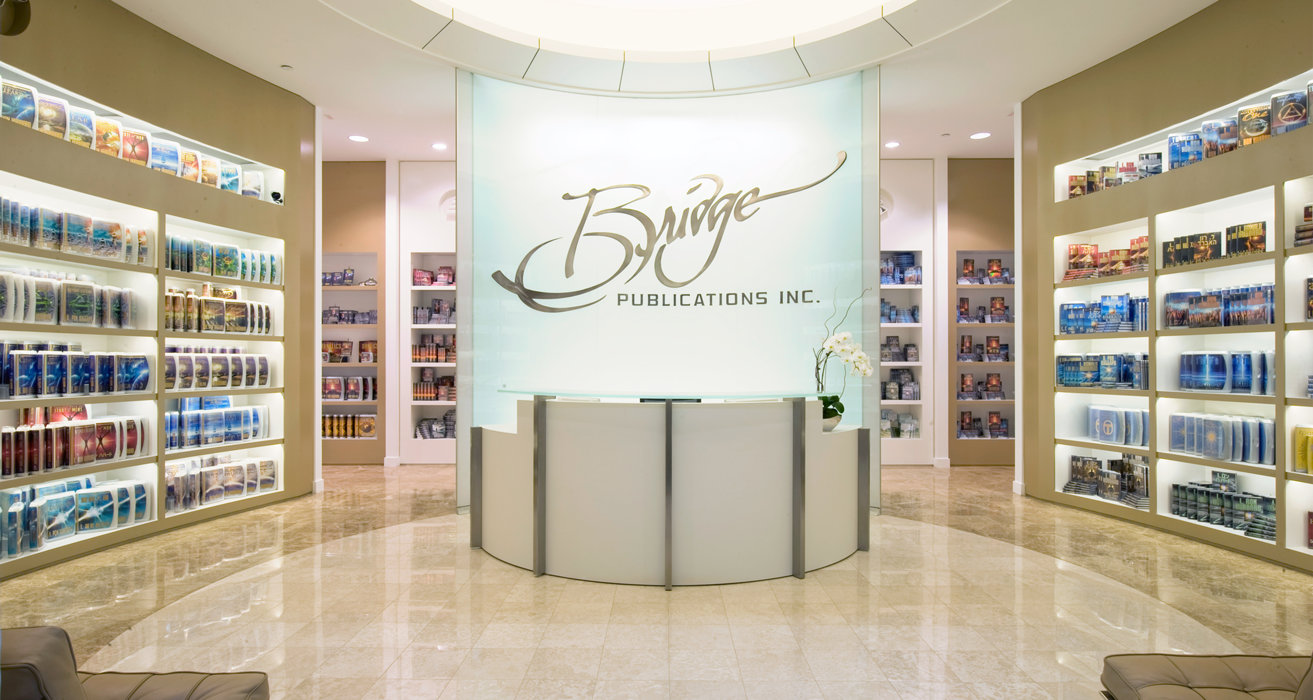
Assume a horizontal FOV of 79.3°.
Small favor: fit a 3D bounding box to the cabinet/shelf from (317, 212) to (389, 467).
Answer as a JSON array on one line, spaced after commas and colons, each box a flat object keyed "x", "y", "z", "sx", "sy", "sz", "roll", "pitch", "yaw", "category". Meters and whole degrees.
[{"x": -4.786, "y": -0.133, "z": 12.462, "sx": 1.003, "sy": 4.027, "sz": 0.471, "roll": 0, "pitch": 0, "yaw": -8, "category": "cabinet/shelf"}]

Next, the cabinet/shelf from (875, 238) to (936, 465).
[{"x": 3.875, "y": 0.112, "z": 12.265, "sx": 0.766, "sy": 3.049, "sz": 0.375, "roll": 0, "pitch": 0, "yaw": 3, "category": "cabinet/shelf"}]

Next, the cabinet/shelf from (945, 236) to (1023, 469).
[{"x": 5.049, "y": 0.127, "z": 12.289, "sx": 0.972, "sy": 3.014, "sz": 0.432, "roll": 0, "pitch": 0, "yaw": 11, "category": "cabinet/shelf"}]

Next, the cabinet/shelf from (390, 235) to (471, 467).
[{"x": -3.613, "y": 0.104, "z": 12.399, "sx": 0.933, "sy": 3.429, "sz": 0.391, "roll": 0, "pitch": 0, "yaw": -4, "category": "cabinet/shelf"}]
